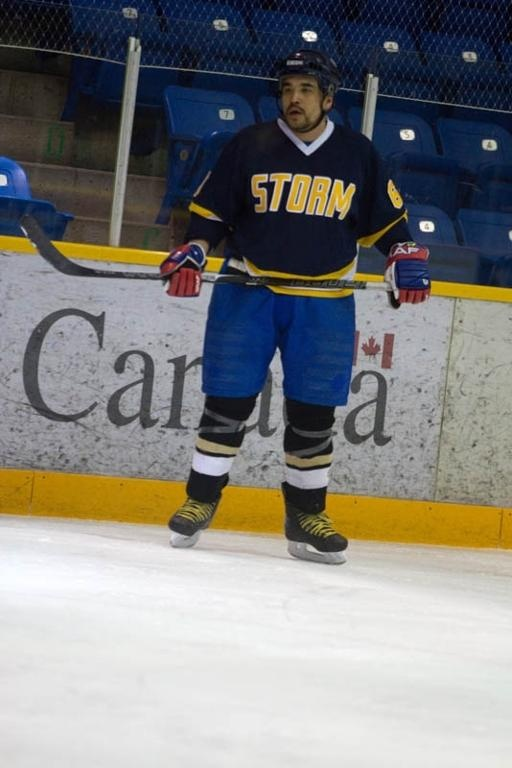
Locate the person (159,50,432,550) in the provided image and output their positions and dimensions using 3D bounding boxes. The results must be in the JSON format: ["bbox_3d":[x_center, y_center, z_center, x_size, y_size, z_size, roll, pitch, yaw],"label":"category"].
[{"bbox_3d":[0.078,-0.204,2.053,0.712,1.366,0.335,9,-6,-18],"label":"person"}]

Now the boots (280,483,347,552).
[{"bbox_3d":[0.165,0.403,2.100,0.226,0.139,0.077,8,6,43],"label":"boots"}]

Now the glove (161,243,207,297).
[{"bbox_3d":[-0.187,-0.313,1.974,0.090,0.159,0.123,3,-7,39],"label":"glove"}]

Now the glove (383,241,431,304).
[{"bbox_3d":[0.431,-0.308,2.065,0.130,0.166,0.075,-2,1,2],"label":"glove"}]

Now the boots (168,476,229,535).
[{"bbox_3d":[-0.141,0.329,2.114,0.081,0.105,0.262,29,33,12],"label":"boots"}]

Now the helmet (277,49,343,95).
[{"bbox_3d":[0.140,-0.858,2.025,0.125,0.112,0.144,10,-8,29],"label":"helmet"}]
